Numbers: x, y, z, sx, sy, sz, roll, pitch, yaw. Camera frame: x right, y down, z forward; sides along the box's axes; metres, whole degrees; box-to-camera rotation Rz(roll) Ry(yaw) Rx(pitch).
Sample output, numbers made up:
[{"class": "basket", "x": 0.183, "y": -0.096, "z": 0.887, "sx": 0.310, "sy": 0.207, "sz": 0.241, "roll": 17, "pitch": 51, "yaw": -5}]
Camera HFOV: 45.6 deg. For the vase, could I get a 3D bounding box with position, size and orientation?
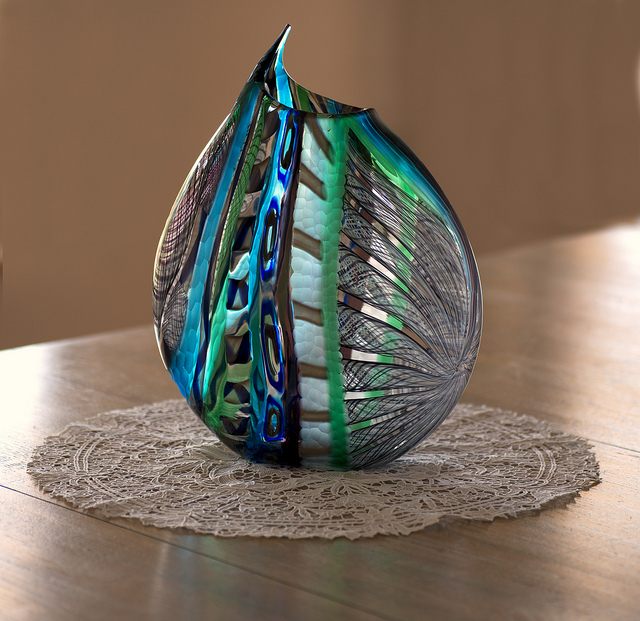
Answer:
[{"class": "vase", "x": -0.006, "y": -0.054, "z": 0.927, "sx": 0.383, "sy": 0.478, "sz": 0.291, "roll": 7, "pitch": 21, "yaw": 17}]
